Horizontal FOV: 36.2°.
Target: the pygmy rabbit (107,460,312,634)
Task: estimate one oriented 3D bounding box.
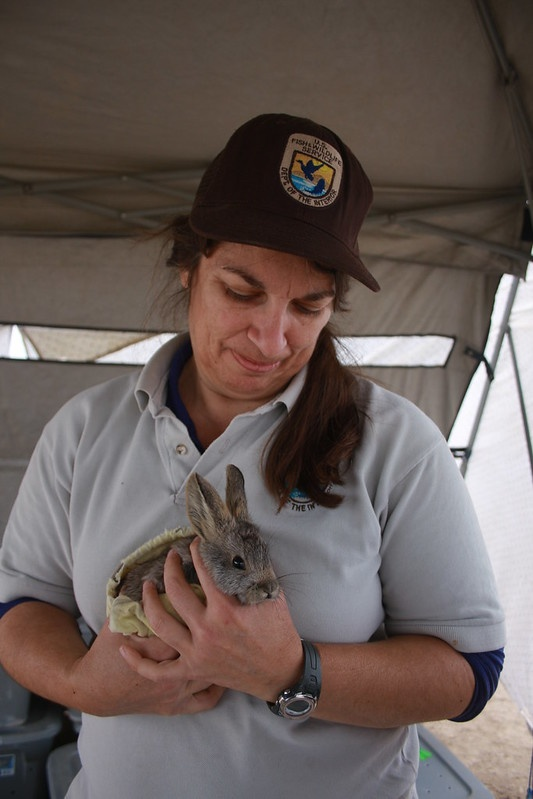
[{"bbox_3d":[-0.213,0.510,2.688,0.692,0.552,0.374,0,1,38],"label":"pygmy rabbit"}]
